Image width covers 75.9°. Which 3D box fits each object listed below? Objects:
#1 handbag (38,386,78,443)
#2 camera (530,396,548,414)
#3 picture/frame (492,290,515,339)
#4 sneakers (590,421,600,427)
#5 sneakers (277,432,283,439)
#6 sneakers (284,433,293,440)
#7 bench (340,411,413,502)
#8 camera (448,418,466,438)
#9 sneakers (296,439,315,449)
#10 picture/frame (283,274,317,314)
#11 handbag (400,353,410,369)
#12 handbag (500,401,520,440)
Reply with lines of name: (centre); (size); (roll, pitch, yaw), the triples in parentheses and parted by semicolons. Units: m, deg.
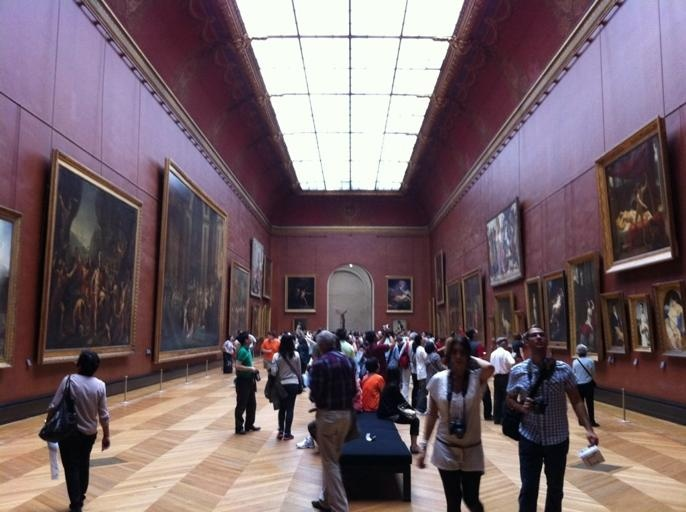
handbag: (-3.174, 1.771, 4.935); (0.332, 0.544, 0.232); (2, -4, -27)
camera: (1.923, 1.453, 4.311); (0.153, 0.204, 0.135); (3, -11, 7)
picture/frame: (6.139, 2.369, 16.619); (0.087, 1.829, 1.517); (-6, -10, 39)
sneakers: (5.161, 3.411, 8.997); (0.181, 0.151, 0.073); (0, 0, -15)
sneakers: (-1.205, 3.407, 8.358); (0.053, 0.078, 0.162); (2, 1, 0)
sneakers: (-1.029, 3.429, 8.374); (0.206, 0.107, 0.073); (2, 1, -27)
bench: (0.539, 3.179, 7.285); (0.934, 0.780, 2.925); (-2, -11, 5)
camera: (1.094, 1.655, 4.219); (0.165, 0.196, 0.104); (-1, -4, 13)
sneakers: (-0.653, 3.347, 7.853); (0.355, 0.200, 0.155); (3, -10, 0)
picture/frame: (-2.979, 2.798, 31.181); (2.225, 3.095, 0.296); (-1, -17, -1)
handbag: (1.820, 2.975, 12.484); (0.286, 0.500, 0.447); (-1, -8, 10)
handbag: (1.702, 1.677, 4.454); (0.168, 0.362, 0.290); (-1, -4, 21)
